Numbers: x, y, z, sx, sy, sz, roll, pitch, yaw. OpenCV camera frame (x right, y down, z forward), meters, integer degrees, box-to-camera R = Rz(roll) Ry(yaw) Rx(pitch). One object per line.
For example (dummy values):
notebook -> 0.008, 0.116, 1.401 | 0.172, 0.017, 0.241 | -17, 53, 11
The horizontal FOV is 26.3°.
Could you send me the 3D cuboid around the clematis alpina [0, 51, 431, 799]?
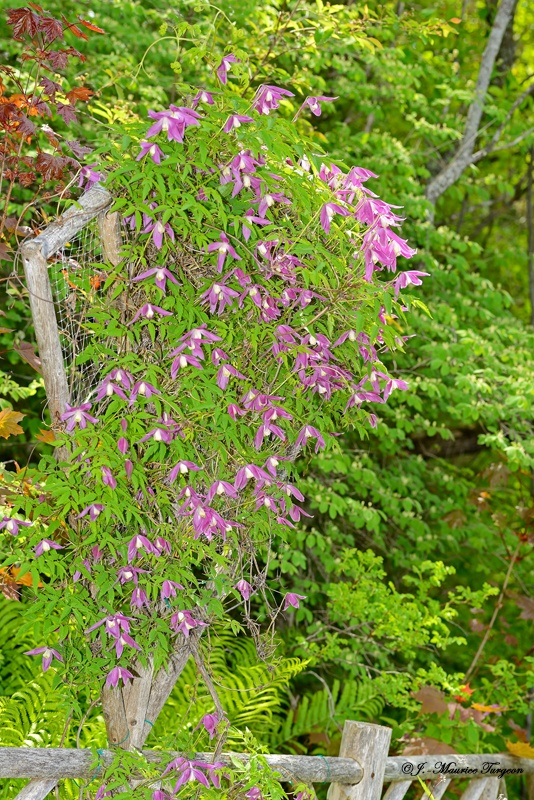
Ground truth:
clematis alpina -> -0.379, 0.096, 3.724 | 1.613, 1.891, 0.932 | 7, 5, -16
